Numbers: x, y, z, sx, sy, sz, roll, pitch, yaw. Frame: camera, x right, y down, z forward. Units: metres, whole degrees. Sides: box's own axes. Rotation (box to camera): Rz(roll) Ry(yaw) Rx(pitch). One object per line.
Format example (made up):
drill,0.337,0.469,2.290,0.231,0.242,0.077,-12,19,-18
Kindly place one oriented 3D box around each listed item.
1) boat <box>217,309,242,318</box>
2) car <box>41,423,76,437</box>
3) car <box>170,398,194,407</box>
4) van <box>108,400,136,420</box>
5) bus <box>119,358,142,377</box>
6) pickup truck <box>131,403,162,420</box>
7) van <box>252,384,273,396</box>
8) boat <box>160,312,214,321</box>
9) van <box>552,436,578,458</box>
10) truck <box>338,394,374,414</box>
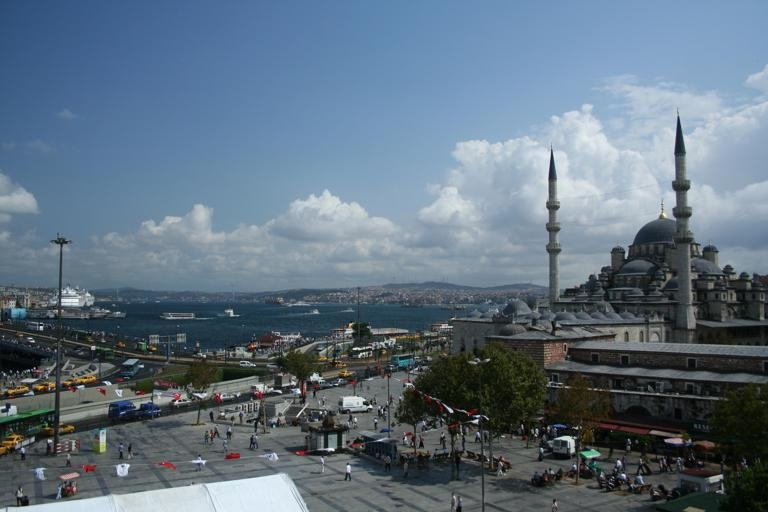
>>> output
boat,-86.430,32.940,380.253,12.348,3.091,21.728,1,-6,-15
car,-36.787,19.627,76.422,2.517,1.034,1.400,-5,-4,4
car,-26.920,19.595,90.555,2.337,0.715,1.002,-1,1,-29
van,-31.882,18.862,83.018,2.212,1.632,2.630,2,2,32
bus,-40.785,18.109,109.304,1.862,1.336,4.804,2,-1,-8
pickup truck,-29.291,19.191,83.941,2.444,1.129,1.729,-3,7,-31
van,-17.296,19.125,96.722,2.970,1.408,1.710,-5,5,-42
boat,-98.461,29.938,335.136,20.320,3.332,56.050,1,-5,-12
van,18.092,19.388,68.655,1.853,1.583,3.085,-1,0,40
truck,-3.749,19.303,88.156,3.731,1.632,2.057,-1,2,-17
